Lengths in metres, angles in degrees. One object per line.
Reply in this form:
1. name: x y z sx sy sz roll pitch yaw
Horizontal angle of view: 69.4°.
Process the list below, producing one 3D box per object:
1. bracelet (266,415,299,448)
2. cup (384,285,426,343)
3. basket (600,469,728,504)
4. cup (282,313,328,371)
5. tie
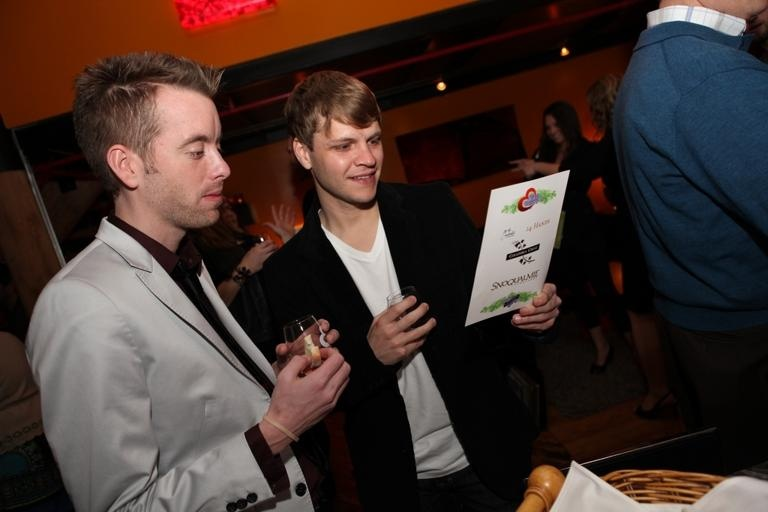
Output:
1. bracelet: -0.369 0.636 2.045 0.025 0.101 0.095 -55 -10 -15
2. cup: 0.105 0.220 2.441 0.126 0.209 0.255 -11 10 11
3. basket: 0.915 0.756 1.803 0.372 0.102 0.130 -11 10 13
4. cup: -0.298 0.338 2.234 0.166 0.225 0.200 -5 13 13
5. tie: -0.573 0.440 2.227 0.238 0.824 0.190 -36 8 40
